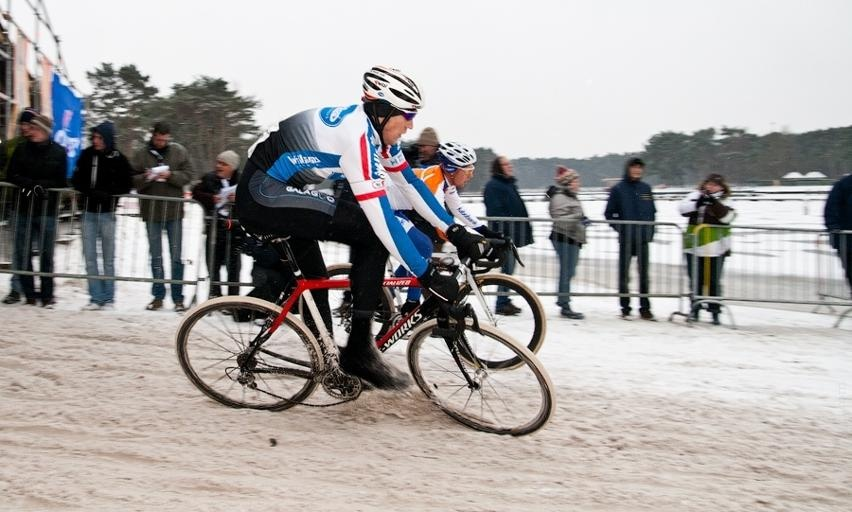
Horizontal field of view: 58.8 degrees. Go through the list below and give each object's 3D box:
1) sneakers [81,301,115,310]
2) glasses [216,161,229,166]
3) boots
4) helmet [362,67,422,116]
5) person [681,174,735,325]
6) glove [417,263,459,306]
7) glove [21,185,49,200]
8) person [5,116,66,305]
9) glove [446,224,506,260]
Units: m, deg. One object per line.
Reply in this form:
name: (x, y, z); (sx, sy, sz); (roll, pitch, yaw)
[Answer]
sneakers: (-4.229, 0.656, 9.848); (0.432, 0.106, 0.133); (4, -1, -15)
glasses: (-2.588, -1.184, 9.758); (0.158, 0.060, 0.067); (3, 14, -1)
boots: (-0.366, 0.894, 6.935); (0.939, 0.545, 0.454); (8, 19, 40)
helmet: (-0.305, -1.551, 6.876); (0.623, 0.260, 0.410); (23, 28, 20)
person: (3.947, -0.292, 10.631); (0.796, 1.680, 0.700); (8, 17, 7)
glove: (0.135, 0.269, 6.848); (0.356, 0.340, 0.177); (15, -17, 0)
glove: (-4.989, -0.812, 9.657); (0.343, 0.201, 0.063); (4, 17, -1)
person: (-4.970, -0.787, 9.689); (0.711, 2.032, 0.561); (3, 17, -11)
glove: (0.450, -0.136, 6.843); (0.481, 0.129, 0.400); (7, 9, 1)
